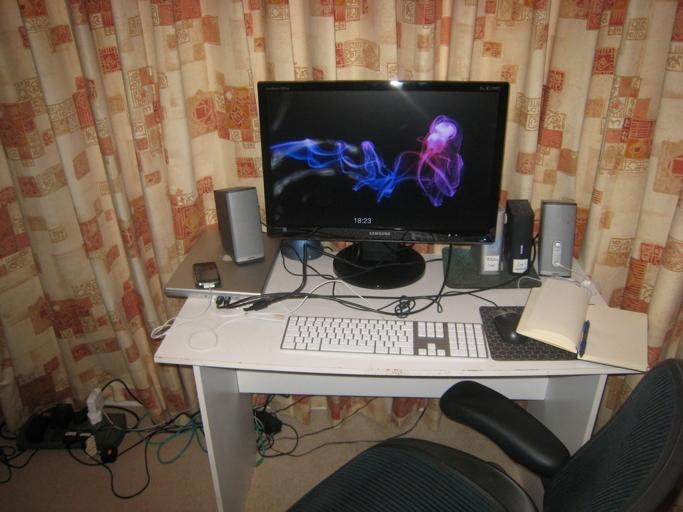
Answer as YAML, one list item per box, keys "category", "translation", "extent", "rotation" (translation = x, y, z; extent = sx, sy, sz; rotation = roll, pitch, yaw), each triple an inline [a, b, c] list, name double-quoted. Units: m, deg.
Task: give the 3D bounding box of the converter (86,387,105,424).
- category: "converter"
  translation: [-1.046, 0.636, 2.209]
  extent: [0.061, 0.119, 0.131]
  rotation: [-5, 17, -7]

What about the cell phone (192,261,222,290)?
- category: "cell phone"
  translation: [-0.458, 0.058, 1.778]
  extent: [0.068, 0.026, 0.112]
  rotation: [-3, 29, -12]

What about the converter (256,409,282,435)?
- category: "converter"
  translation: [-0.320, 0.719, 2.290]
  extent: [0.073, 0.055, 0.122]
  rotation: [-23, 43, -34]

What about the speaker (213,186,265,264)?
- category: "speaker"
  translation: [-0.368, -0.122, 1.888]
  extent: [0.132, 0.243, 0.199]
  rotation: [-11, 17, -23]

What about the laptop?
- category: "laptop"
  translation: [-0.394, 0.056, 1.870]
  extent: [0.302, 0.062, 0.266]
  rotation: [3, 39, 4]

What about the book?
- category: "book"
  translation: [0.713, 0.212, 1.572]
  extent: [0.382, 0.065, 0.445]
  rotation: [13, 33, 23]

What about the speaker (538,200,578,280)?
- category: "speaker"
  translation: [0.779, -0.053, 1.816]
  extent: [0.143, 0.246, 0.158]
  rotation: [5, 9, 28]

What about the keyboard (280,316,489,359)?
- category: "keyboard"
  translation: [0.130, 0.244, 1.571]
  extent: [0.607, 0.058, 0.123]
  rotation: [2, 21, 4]
